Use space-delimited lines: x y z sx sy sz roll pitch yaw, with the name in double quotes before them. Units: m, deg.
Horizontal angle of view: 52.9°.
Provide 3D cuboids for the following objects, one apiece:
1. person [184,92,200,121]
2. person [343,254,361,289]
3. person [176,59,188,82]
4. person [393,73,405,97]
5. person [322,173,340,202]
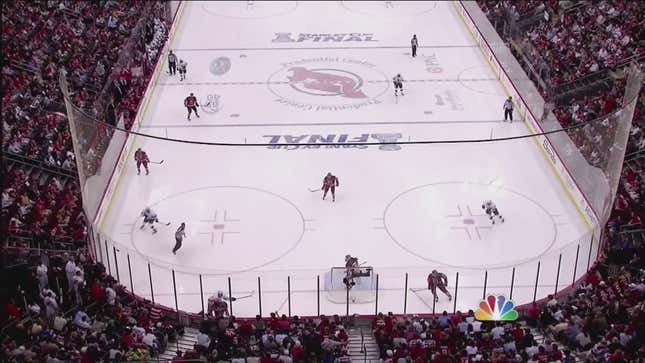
"person" -8.628 -5.007 42.754 0.834 1.670 1.352 -5 32 -11
"person" 1.374 4.287 31.008 0.862 0.937 1.515 5 49 3
"person" -10.227 -8.236 47.181 0.629 1.576 1.417 -5 32 -11
"person" 5.385 -6.806 44.972 0.779 1.510 1.793 9 32 10
"person" 0.423 0.254 36.649 0.878 1.656 1.132 2 32 0
